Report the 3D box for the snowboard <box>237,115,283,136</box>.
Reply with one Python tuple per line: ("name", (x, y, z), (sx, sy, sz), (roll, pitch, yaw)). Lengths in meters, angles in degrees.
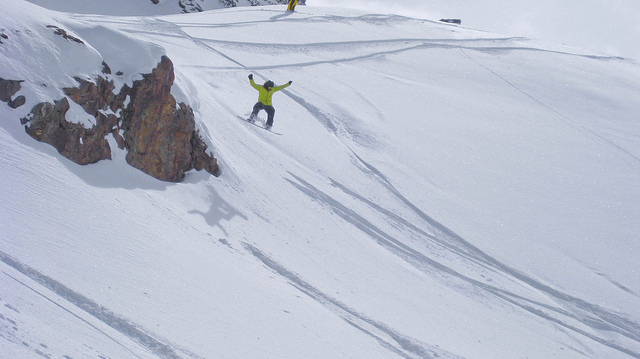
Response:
("snowboard", (-3.503, -2.978, 56.684), (2.402, 0.136, 0.301), (25, 19, -24))
